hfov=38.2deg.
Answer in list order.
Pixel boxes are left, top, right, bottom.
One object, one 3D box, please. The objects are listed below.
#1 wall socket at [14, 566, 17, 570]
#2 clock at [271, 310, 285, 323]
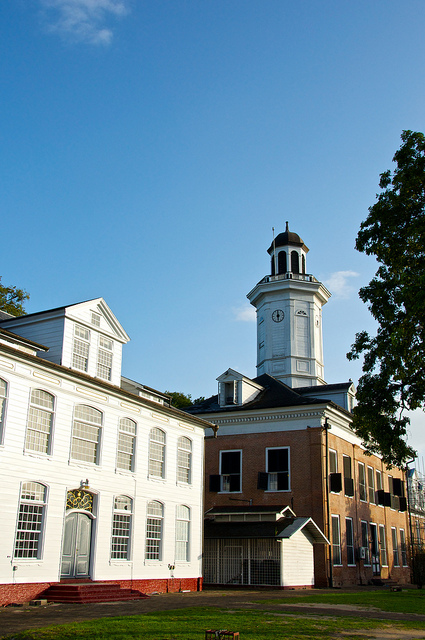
[{"bbox_3d":[-5.237,6.601,16.382,0.072,0.126,0.073,2,-6,5],"label":"wall socket"},{"bbox_3d":[4.690,-0.289,43.674,0.962,1.004,0.140,-15,-26,33],"label":"clock"}]
